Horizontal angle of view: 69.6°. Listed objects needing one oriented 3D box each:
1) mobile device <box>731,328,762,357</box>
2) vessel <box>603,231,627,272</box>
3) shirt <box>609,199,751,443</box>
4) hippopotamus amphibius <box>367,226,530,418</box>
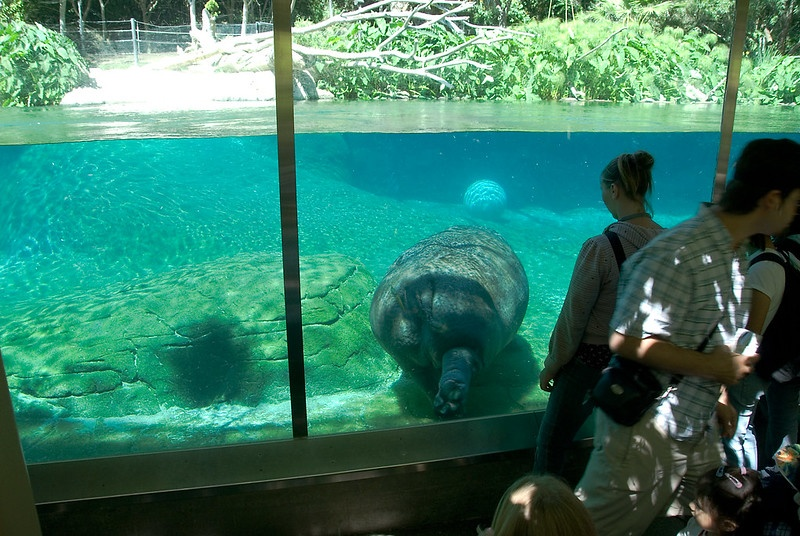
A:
[{"bbox_3d":[2.307,0.491,3.870,0.170,0.178,0.169,3,5,12],"label":"mobile device"},{"bbox_3d":[1.630,-0.125,4.395,0.086,0.269,0.202,-17,-1,2],"label":"vessel"},{"bbox_3d":[1.874,0.387,3.877,0.869,1.527,0.418,-4,16,-11],"label":"shirt"},{"bbox_3d":[0.558,0.554,6.736,1.304,1.249,2.462,-16,19,22],"label":"hippopotamus amphibius"}]
